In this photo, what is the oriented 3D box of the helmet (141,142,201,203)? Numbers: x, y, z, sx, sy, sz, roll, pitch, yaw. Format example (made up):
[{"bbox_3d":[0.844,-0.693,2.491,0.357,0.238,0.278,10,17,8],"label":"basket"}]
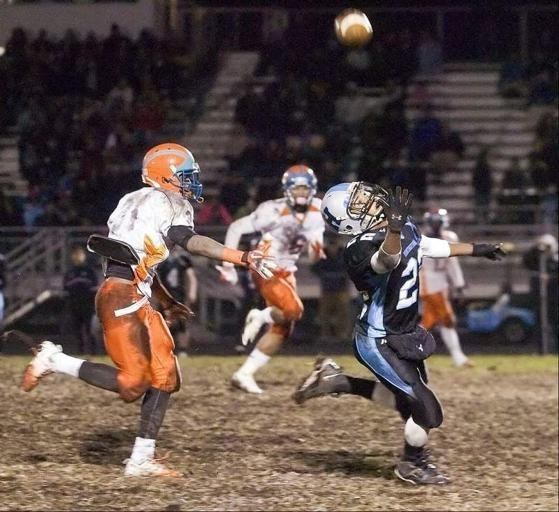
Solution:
[{"bbox_3d":[-0.963,-0.739,9.920,0.676,0.457,0.455,4,9,-10],"label":"helmet"}]

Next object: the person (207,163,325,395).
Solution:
[{"bbox_3d":[0.054,0.164,11.706,1.145,2.378,1.264,-3,16,-9],"label":"person"}]

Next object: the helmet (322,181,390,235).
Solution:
[{"bbox_3d":[0.671,-0.453,9.847,0.663,0.475,0.449,5,9,13],"label":"helmet"}]

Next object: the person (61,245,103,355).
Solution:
[{"bbox_3d":[-2.789,0.623,15.639,0.525,1.460,0.449,7,19,18],"label":"person"}]
